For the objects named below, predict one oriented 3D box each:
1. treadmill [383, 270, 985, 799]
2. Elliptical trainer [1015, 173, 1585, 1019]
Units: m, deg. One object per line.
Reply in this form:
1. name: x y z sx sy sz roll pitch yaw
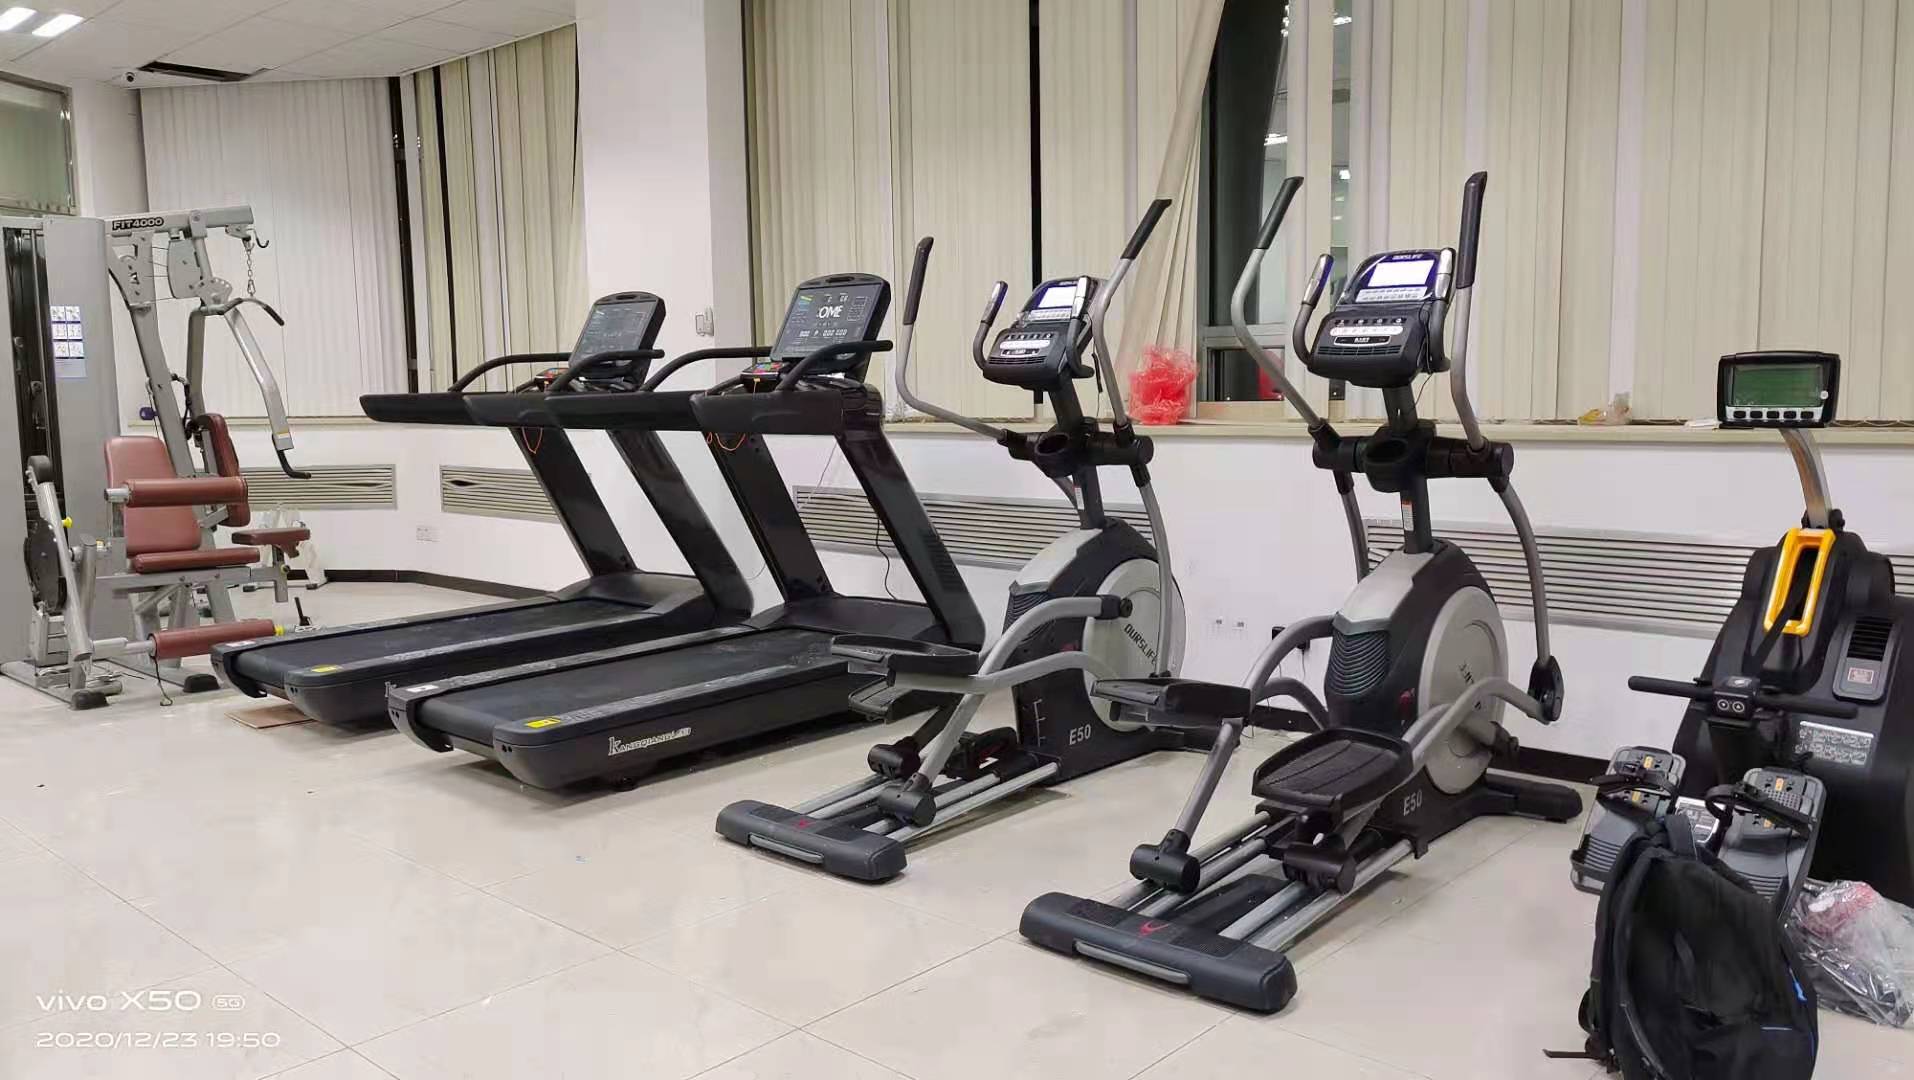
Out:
1. treadmill: -2.607 -0.243 6.680 2.677 2.127 1.633 -7 11 -43
2. Elliptical trainer: 1.410 0.100 4.562 2.303 2.798 0.778 -15 16 -33
